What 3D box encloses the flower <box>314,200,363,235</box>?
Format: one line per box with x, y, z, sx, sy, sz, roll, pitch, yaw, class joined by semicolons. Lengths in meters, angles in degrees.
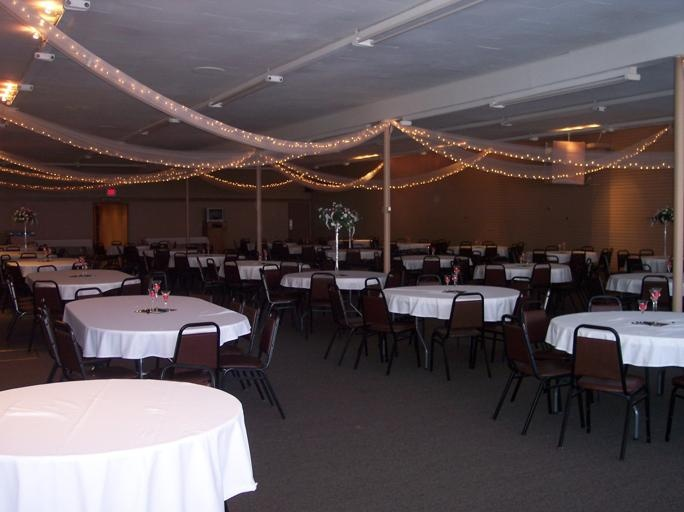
-0.028;-0.662;8.282;0.627;0.430;0.652;6;-13;27;flower

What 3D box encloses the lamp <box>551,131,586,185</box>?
4.486;-1.821;10.402;0.738;0.899;0.598;1;-5;18;lamp
